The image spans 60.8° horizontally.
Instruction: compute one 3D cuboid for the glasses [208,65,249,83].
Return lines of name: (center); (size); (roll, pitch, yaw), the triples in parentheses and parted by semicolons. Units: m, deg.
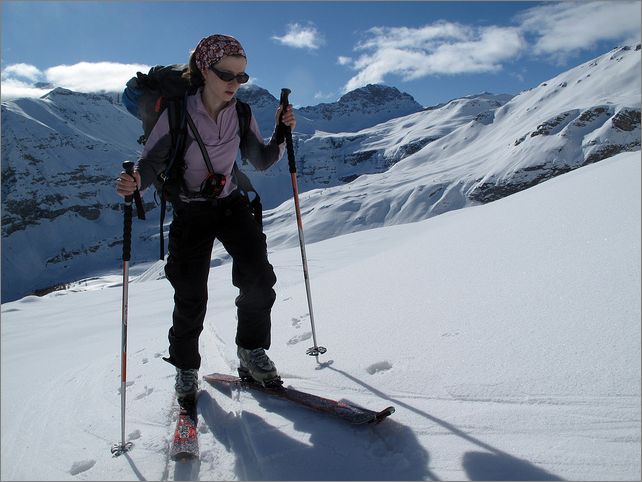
glasses: (-0.850, -1.524, 5.011); (0.326, 0.199, 0.167); (-16, 21, -19)
